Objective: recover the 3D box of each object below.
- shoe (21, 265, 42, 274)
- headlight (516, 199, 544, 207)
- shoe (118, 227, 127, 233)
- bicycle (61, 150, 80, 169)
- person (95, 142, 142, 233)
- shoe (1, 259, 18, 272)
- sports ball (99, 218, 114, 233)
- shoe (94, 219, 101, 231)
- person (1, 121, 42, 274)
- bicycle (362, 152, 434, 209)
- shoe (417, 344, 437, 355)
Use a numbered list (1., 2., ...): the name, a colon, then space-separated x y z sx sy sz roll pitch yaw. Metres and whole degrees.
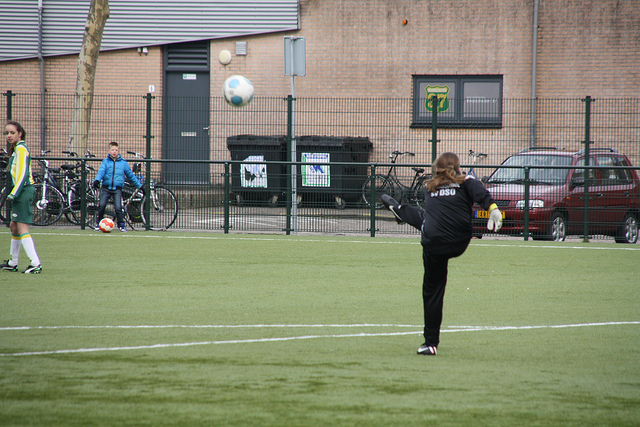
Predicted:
1. shoe: -6.259 1.223 24.700 0.423 0.238 0.165 -1 1 -4
2. headlight: 5.415 -0.254 29.485 0.703 0.184 0.086 2 0 10
3. shoe: -5.207 0.453 30.030 0.089 0.111 0.249 -4 3 -33
4. bicycle: -6.897 -1.483 31.384 0.582 0.434 0.400 -10 0 15
5. person: -5.406 -0.689 30.082 1.042 2.391 0.459 2 0 -11
6. shoe: -6.814 1.169 24.920 0.350 0.273 0.236 2 0 -16
7. sports ball: -5.532 0.327 29.448 0.329 0.378 0.349 9 -5 1
8. shoe: -5.946 0.317 30.286 0.224 0.310 0.242 1 4 10
9. person: -6.536 -0.346 24.949 0.817 3.432 0.714 2 0 -17
10. bicycle: 2.202 -0.865 30.332 2.238 1.584 1.165 3 7 -14
11. shoe: 2.012 2.600 21.649 0.280 0.220 0.183 5 -3 0
